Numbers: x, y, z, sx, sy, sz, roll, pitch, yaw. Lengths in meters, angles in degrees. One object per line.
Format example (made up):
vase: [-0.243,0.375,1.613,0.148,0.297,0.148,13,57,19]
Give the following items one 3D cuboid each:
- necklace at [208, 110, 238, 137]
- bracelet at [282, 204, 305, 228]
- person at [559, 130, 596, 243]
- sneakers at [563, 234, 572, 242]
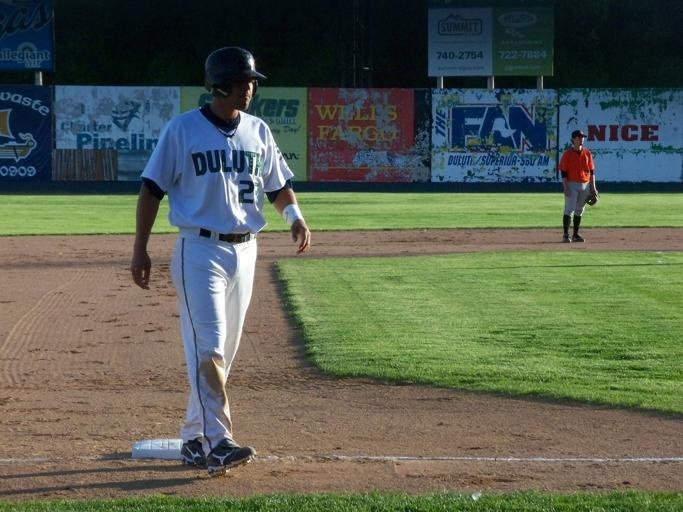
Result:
necklace: [-1.434,-1.553,13.947,0.366,0.200,0.265,39,15,12]
bracelet: [-0.616,-0.466,14.343,0.224,0.275,0.233,-25,19,26]
person: [4.606,-1.332,22.996,0.629,2.170,1.142,1,4,18]
sneakers: [4.482,-0.338,23.435,0.120,0.172,0.179,0,-8,2]
